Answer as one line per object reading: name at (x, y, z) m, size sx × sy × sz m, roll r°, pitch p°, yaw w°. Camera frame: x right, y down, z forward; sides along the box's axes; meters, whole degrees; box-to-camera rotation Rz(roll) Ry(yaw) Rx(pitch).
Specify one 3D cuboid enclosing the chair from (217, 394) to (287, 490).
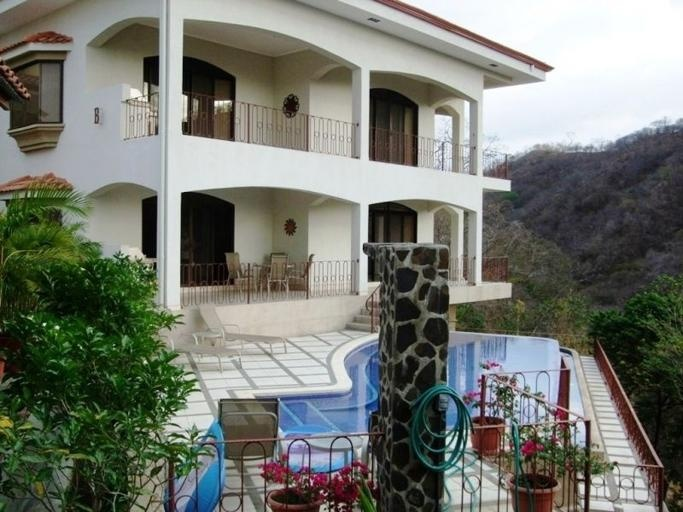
chair at (-1.052, 2.104, 6.595) m, size 0.680 × 1.414 × 0.988 m, roll 1°, pitch 6°, yaw -8°

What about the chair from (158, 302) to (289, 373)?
chair at (-2.479, 1.588, 11.227) m, size 1.527 × 0.781 × 1.510 m, roll 5°, pitch 4°, yaw 37°
